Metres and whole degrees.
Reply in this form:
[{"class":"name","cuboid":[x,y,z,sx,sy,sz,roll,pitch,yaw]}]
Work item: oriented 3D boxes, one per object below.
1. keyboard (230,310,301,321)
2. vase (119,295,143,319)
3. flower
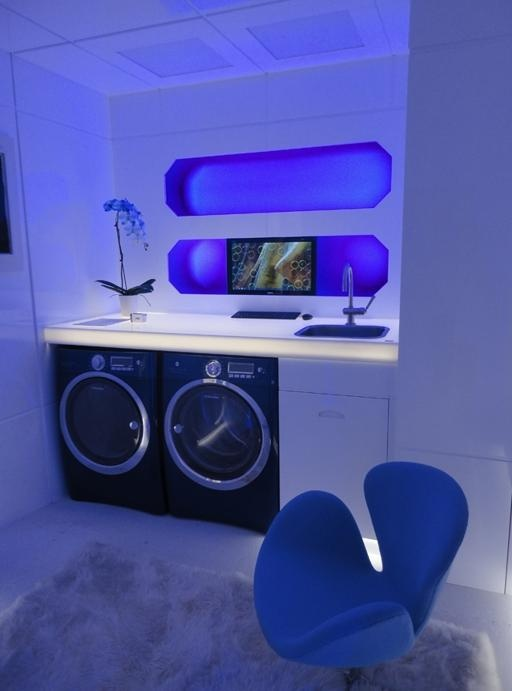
[{"class":"keyboard","cuboid":[0.065,-0.161,2.865,0.217,0.015,0.071,4,37,18]},{"class":"vase","cuboid":[-0.693,-0.222,3.028,0.146,0.130,0.138,8,10,41]},{"class":"flower","cuboid":[-0.746,-0.527,3.082,0.326,0.567,0.447,-3,11,-11]}]
